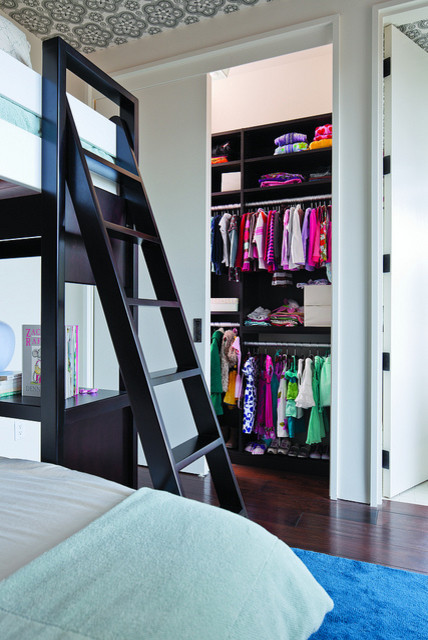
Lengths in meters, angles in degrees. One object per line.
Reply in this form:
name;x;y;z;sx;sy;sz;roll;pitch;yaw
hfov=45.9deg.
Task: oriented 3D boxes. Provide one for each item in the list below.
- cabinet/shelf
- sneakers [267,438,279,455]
cabinet/shelf;0.375;-0.235;3.554;0.987;2.273;0.668;3;4;21
sneakers;0.400;0.845;3.395;0.078;0.056;0.185;3;4;7
